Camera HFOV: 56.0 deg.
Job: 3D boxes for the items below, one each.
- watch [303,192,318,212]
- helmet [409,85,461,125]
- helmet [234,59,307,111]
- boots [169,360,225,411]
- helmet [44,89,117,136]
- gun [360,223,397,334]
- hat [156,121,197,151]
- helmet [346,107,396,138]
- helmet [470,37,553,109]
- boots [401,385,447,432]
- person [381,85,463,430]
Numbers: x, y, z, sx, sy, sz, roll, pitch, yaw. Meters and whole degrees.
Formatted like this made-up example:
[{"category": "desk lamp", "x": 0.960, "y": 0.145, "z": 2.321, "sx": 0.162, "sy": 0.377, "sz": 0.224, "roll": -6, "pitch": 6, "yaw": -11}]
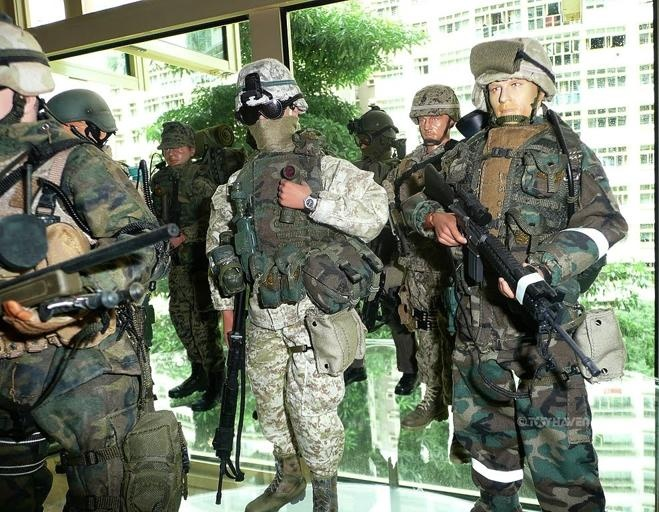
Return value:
[{"category": "watch", "x": -0.095, "y": -0.268, "z": 3.085, "sx": 0.056, "sy": 0.087, "sz": 0.083, "roll": 22, "pitch": -6, "yaw": 9}, {"category": "helmet", "x": 0.757, "y": -1.102, "z": 4.497, "sx": 0.369, "sy": 0.264, "sz": 0.402, "roll": 2, "pitch": 18, "yaw": 16}, {"category": "helmet", "x": -0.265, "y": -0.952, "z": 3.323, "sx": 0.310, "sy": 0.237, "sz": 0.235, "roll": 4, "pitch": 39, "yaw": 22}, {"category": "boots", "x": -1.025, "y": 1.039, "z": 4.964, "sx": 0.365, "sy": 0.425, "sz": 0.375, "roll": -6, "pitch": 12, "yaw": -42}, {"category": "helmet", "x": -1.671, "y": -0.963, "z": 4.188, "sx": 0.445, "sy": 0.359, "sz": 0.346, "roll": -6, "pitch": 21, "yaw": -32}, {"category": "gun", "x": 0.396, "y": 0.203, "z": 4.876, "sx": 0.220, "sy": 0.946, "sz": 0.368, "roll": 10, "pitch": 11, "yaw": -5}, {"category": "hat", "x": -1.269, "y": -1.005, "z": 5.222, "sx": 0.204, "sy": 0.150, "sz": 0.292, "roll": 1, "pitch": 4, "yaw": 11}, {"category": "helmet", "x": 0.379, "y": -1.178, "z": 5.399, "sx": 0.447, "sy": 0.291, "sz": 0.324, "roll": -2, "pitch": 10, "yaw": -11}, {"category": "helmet", "x": 0.824, "y": -0.896, "z": 2.882, "sx": 0.307, "sy": 0.197, "sz": 0.312, "roll": -4, "pitch": -20, "yaw": 37}, {"category": "boots", "x": 0.641, "y": 1.003, "z": 4.250, "sx": 0.405, "sy": 0.298, "sz": 0.153, "roll": -12, "pitch": 14, "yaw": -34}, {"category": "person", "x": 0.679, "y": 0.070, "z": 4.496, "sx": 0.740, "sy": 2.460, "sz": 0.624, "roll": 3, "pitch": 21, "yaw": 7}]
